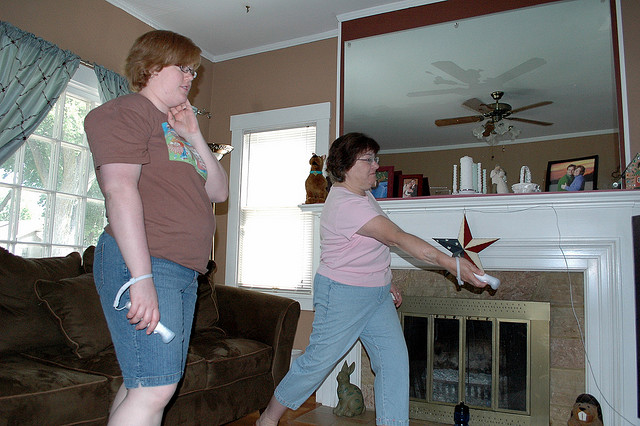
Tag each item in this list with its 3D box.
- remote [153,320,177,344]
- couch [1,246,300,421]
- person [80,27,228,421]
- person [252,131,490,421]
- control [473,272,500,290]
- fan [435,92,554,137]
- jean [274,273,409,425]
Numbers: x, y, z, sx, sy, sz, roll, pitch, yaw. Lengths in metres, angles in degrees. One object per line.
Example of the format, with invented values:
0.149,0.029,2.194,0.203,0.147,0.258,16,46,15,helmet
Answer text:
-0.621,0.476,1.840,0.101,0.060,0.050,48,-17,-17,remote
-0.993,0.734,2.642,0.809,0.730,1.462,0,-3,28,couch
-0.687,0.161,1.959,0.586,1.355,0.254,2,-4,-27,person
0.295,0.402,2.854,1.260,1.847,0.463,-1,-4,32,person
0.848,0.342,2.358,0.055,0.073,0.136,2,-3,-27,control
1.386,-0.799,3.811,0.846,0.350,0.460,4,-2,22,fan
0.140,0.821,2.842,0.748,0.895,0.284,1,-3,-12,jean
